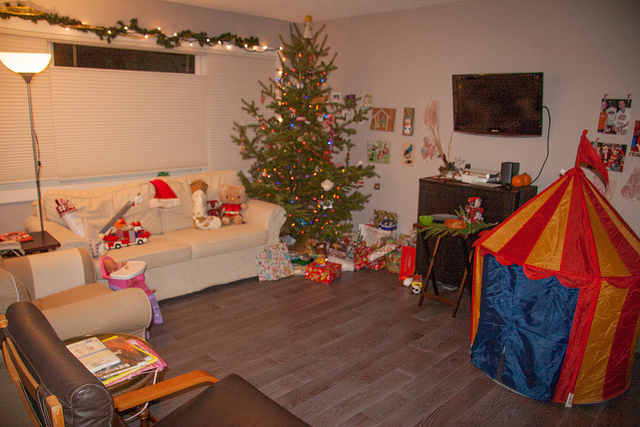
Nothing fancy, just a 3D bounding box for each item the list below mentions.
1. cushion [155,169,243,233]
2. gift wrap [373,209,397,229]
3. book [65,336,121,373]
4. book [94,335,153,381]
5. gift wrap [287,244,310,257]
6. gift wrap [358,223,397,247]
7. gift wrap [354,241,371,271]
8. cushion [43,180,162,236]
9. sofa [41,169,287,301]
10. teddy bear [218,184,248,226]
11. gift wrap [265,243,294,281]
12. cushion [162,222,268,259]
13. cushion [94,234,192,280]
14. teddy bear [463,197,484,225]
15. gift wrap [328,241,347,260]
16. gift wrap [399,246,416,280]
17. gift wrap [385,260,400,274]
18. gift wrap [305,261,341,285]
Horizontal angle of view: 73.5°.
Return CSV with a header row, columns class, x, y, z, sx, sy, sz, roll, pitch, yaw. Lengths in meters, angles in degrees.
class,x,y,z,sx,sy,sz,roll,pitch,yaw
cushion,-1.582,-0.239,5.678,1.054,0.773,0.836,18,19,40
gift wrap,0.956,0.070,6.183,0.001,0.182,0.261,-10,19,-42
book,-1.584,0.974,2.977,0.294,0.019,0.209,27,19,27
book,-1.377,0.993,2.965,0.246,0.027,0.231,18,20,39
gift wrap,-0.308,0.519,6.212,0.222,0.188,0.009,1,-28,-2
gift wrap,0.799,0.410,6.179,0.531,0.354,0.309,16,25,40
gift wrap,0.611,0.583,5.931,0.107,0.343,0.264,31,-27,-31
cushion,-2.577,-0.147,5.182,1.418,0.576,0.657,-8,19,-39
sofa,-1.841,0.285,4.950,2.570,1.098,1.274,-9,15,-43
teddy bear,-1.175,-0.122,5.702,0.470,0.511,0.349,0,17,-15
gift wrap,-0.569,0.628,5.600,0.381,0.496,0.035,-14,-31,-3
cushion,-1.225,0.238,5.477,1.237,0.344,0.801,13,14,32
cushion,-2.037,0.435,4.912,0.675,0.228,0.979,10,7,21
teddy bear,1.781,-0.029,4.943,0.214,0.380,0.307,-6,5,-42
gift wrap,0.255,0.538,6.231,0.261,0.063,0.260,3,11,6
gift wrap,1.143,0.644,5.605,0.205,0.409,0.183,1,15,16
gift wrap,0.989,0.724,5.808,0.147,0.121,0.181,-7,12,-35
gift wrap,0.092,0.751,5.581,0.305,0.136,0.308,9,13,36
